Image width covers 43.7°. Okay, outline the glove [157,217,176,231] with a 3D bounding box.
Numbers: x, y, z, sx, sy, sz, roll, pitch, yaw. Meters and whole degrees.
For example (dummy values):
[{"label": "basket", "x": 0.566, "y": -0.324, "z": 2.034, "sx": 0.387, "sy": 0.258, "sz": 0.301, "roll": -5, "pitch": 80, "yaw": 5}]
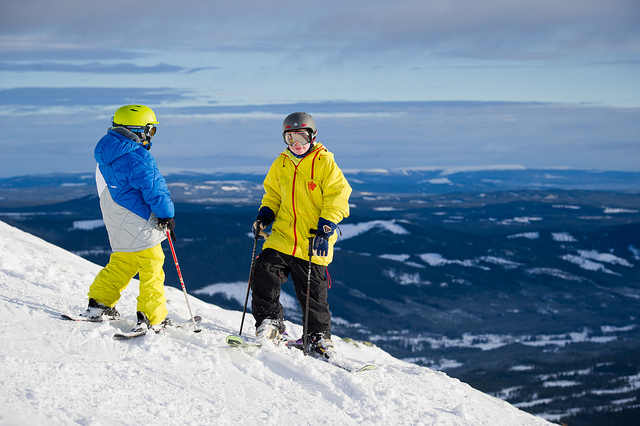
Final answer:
[{"label": "glove", "x": -6.901, "y": 0.478, "z": 35.464, "sx": 0.681, "sy": 0.527, "sz": 0.484, "roll": -10, "pitch": 6, "yaw": -3}]
